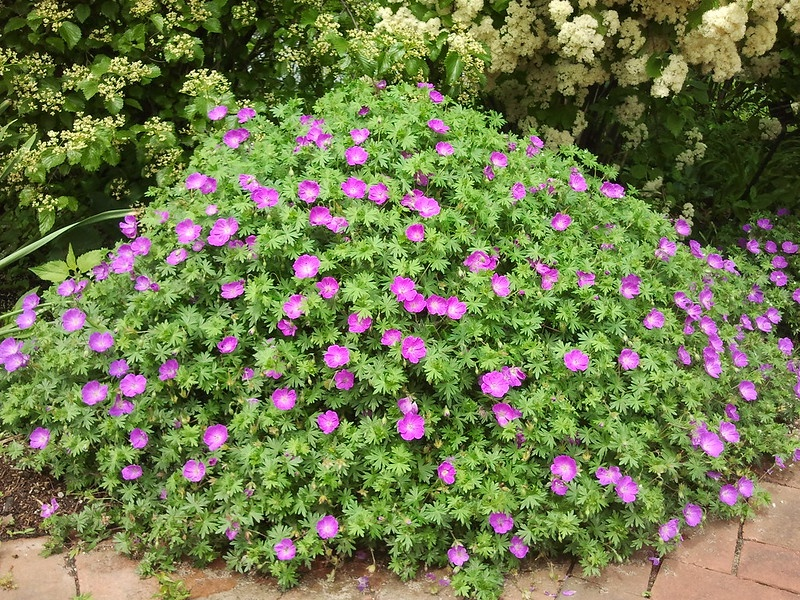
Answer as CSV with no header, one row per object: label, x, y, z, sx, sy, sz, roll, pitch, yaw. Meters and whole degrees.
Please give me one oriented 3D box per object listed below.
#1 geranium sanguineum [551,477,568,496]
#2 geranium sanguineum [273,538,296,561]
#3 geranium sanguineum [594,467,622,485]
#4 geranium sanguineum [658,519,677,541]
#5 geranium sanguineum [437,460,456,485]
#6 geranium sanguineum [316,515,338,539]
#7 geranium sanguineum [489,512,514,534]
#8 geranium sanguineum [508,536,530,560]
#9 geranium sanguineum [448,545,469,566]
geranium sanguineum,0.752,0.889,3.339,0.086,0.075,0.060,6,47,-6
geranium sanguineum,-0.529,1.150,3.230,0.096,0.102,0.085,0,48,-12
geranium sanguineum,0.995,0.842,3.379,0.122,0.100,0.078,10,47,-3
geranium sanguineum,1.308,1.106,3.444,0.082,0.048,0.099,29,83,0
geranium sanguineum,0.220,0.806,3.273,0.076,0.074,0.093,-13,52,-22
geranium sanguineum,-0.340,1.068,3.265,0.100,0.154,0.089,2,47,-9
geranium sanguineum,0.469,1.036,3.293,0.120,0.070,0.069,15,47,1
geranium sanguineum,0.557,1.156,3.320,0.085,0.044,0.073,24,48,9
geranium sanguineum,0.274,1.186,3.294,0.093,0.065,0.085,-12,52,-22
